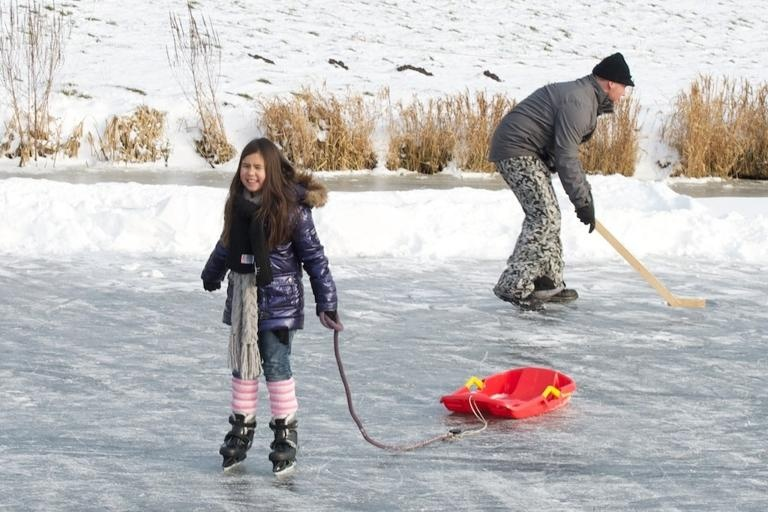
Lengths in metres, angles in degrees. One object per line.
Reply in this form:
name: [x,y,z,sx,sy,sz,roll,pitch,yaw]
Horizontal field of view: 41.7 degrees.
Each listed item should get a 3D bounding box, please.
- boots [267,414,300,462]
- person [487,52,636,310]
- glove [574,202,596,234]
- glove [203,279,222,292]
boots: [-0.785,1.401,7.827,0.212,0.314,0.476,-5,7,7]
person: [1.625,-0.747,10.253,1.496,2.495,1.118,4,5,43]
glove: [2.047,-0.395,10.287,0.206,0.327,0.392,5,14,13]
glove: [-1.387,0.235,8.183,0.140,0.114,0.039,2,18,-1]
